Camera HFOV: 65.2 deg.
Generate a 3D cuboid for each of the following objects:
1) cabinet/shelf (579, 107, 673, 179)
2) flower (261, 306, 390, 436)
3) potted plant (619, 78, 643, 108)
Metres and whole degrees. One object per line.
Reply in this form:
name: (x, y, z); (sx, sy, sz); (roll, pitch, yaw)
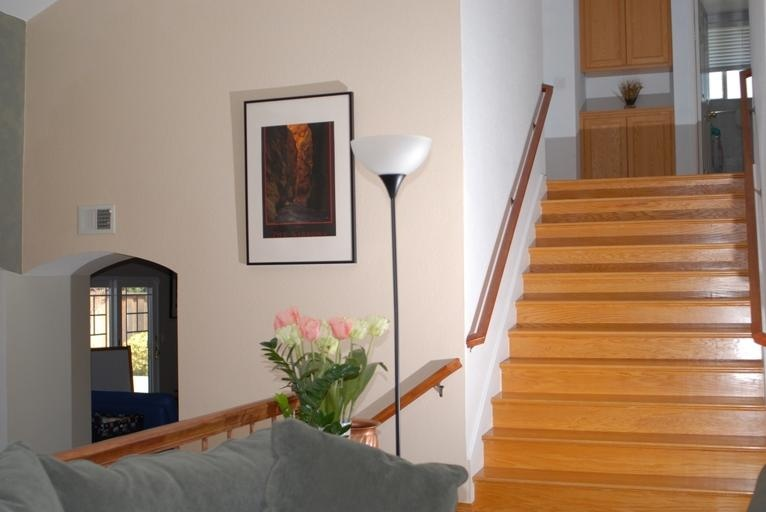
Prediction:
cabinet/shelf: (3.288, -1.505, 8.007); (1.160, 1.213, 0.462); (0, 0, 11)
flower: (-0.147, 0.538, 2.905); (0.422, 0.487, 0.456); (-10, 1, 29)
potted plant: (3.396, -2.221, 8.202); (0.296, 0.428, 0.306); (-4, -1, 23)
